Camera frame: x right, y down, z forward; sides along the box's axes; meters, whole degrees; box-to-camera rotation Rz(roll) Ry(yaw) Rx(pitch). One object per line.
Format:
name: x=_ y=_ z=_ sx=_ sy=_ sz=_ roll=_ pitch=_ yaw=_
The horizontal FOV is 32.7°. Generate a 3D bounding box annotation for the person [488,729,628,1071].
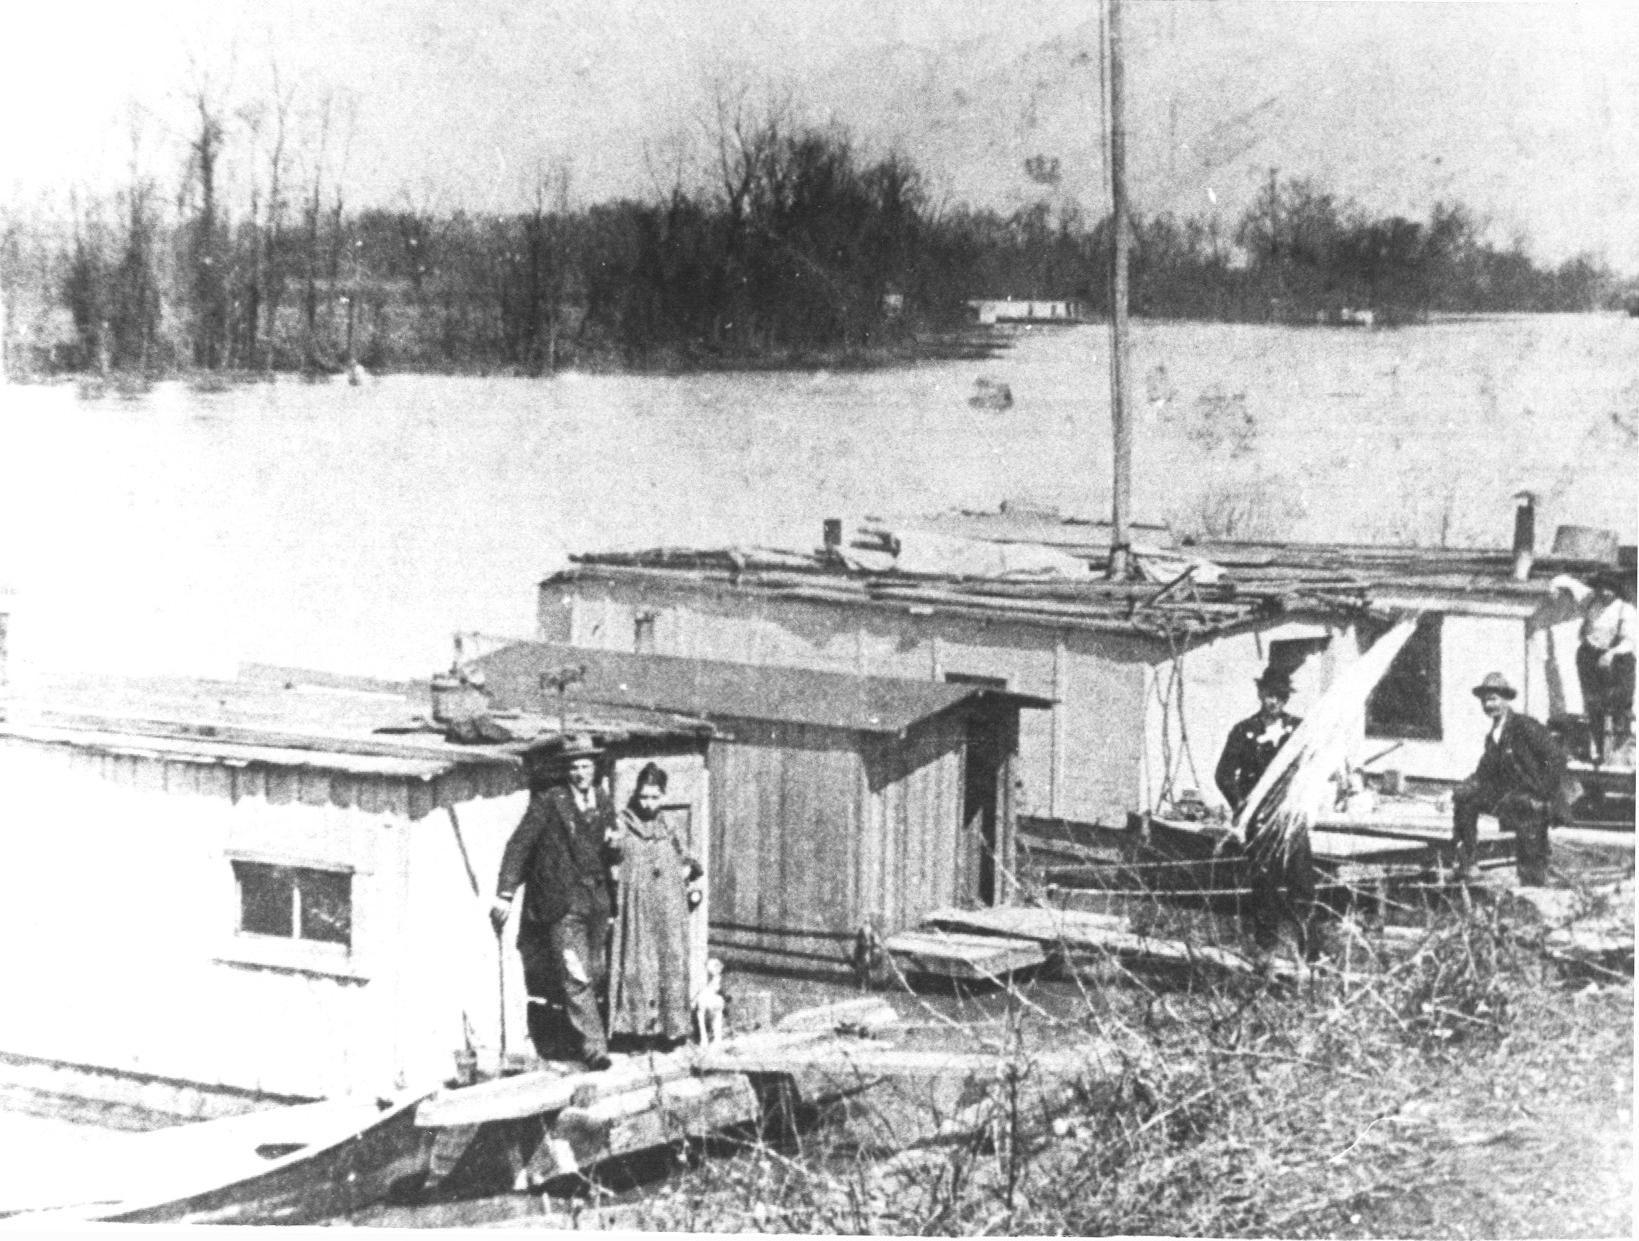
person: x=-1.121 y=1.193 z=11.813 sx=0.507 sy=1.381 sz=0.327 roll=-1 pitch=4 yaw=-7

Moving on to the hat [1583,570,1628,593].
hat: x=3.527 y=-0.167 z=12.498 sx=0.194 sy=0.115 sz=0.044 roll=-1 pitch=4 yaw=-13

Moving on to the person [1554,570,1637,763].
person: x=3.506 y=0.220 z=12.530 sx=0.260 sy=0.848 sz=0.077 roll=1 pitch=4 yaw=12

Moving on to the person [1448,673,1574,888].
person: x=3.101 y=0.803 z=12.663 sx=0.478 sy=1.093 sz=0.404 roll=8 pitch=-26 yaw=4

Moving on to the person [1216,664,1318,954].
person: x=1.983 y=0.838 z=12.511 sx=0.428 sy=1.219 sz=0.322 roll=0 pitch=4 yaw=1
